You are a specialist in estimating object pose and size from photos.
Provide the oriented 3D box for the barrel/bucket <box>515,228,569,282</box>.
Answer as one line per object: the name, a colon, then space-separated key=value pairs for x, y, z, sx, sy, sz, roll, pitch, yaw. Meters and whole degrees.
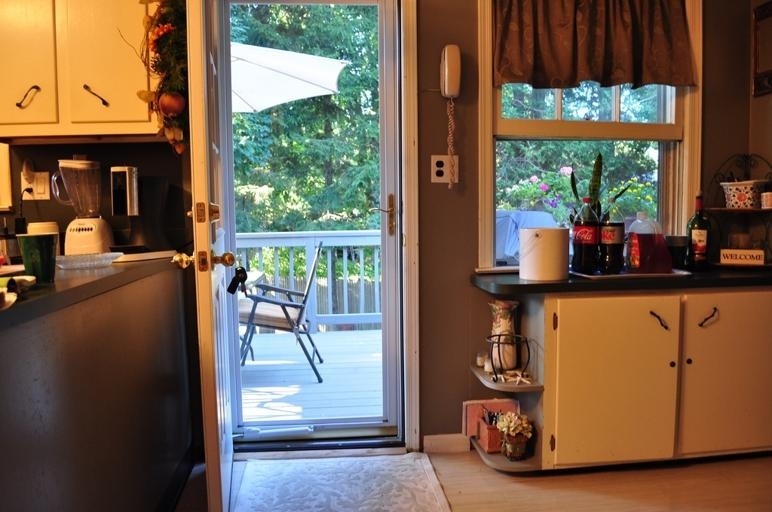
barrel/bucket: x=0.880 y=-0.026 z=3.579 sx=0.271 sy=0.302 sz=0.294 roll=-2 pitch=9 yaw=0

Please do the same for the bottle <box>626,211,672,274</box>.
bottle: x=1.503 y=-0.080 z=3.611 sx=0.262 sy=0.319 sz=0.234 roll=4 pitch=14 yaw=18

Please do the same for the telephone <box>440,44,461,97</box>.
telephone: x=0.372 y=-1.049 z=3.637 sx=0.123 sy=0.292 sz=0.140 roll=0 pitch=13 yaw=2

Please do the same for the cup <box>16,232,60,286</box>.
cup: x=-1.511 y=-0.004 z=2.793 sx=0.180 sy=0.208 sz=0.176 roll=-1 pitch=2 yaw=0

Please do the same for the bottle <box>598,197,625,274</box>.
bottle: x=1.270 y=-0.119 z=3.586 sx=0.143 sy=0.411 sz=0.170 roll=-2 pitch=13 yaw=-6

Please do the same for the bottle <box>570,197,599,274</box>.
bottle: x=1.134 y=-0.117 z=3.597 sx=0.135 sy=0.416 sz=0.152 roll=-1 pitch=13 yaw=-4

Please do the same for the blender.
blender: x=-1.642 y=-0.279 z=3.447 sx=0.255 sy=0.501 sz=0.560 roll=-7 pitch=15 yaw=-26

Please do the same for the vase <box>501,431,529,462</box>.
vase: x=0.710 y=1.039 z=3.524 sx=0.142 sy=0.166 sz=0.145 roll=2 pitch=-6 yaw=-8

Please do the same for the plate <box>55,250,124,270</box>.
plate: x=-1.447 y=0.009 z=3.135 sx=0.315 sy=0.086 sz=0.170 roll=-9 pitch=16 yaw=-35

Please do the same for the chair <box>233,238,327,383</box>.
chair: x=-0.816 y=0.416 z=4.805 sx=0.732 sy=0.933 sz=0.618 roll=1 pitch=4 yaw=4

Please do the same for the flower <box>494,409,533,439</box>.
flower: x=0.724 y=0.896 z=3.559 sx=0.160 sy=0.075 sz=0.156 roll=8 pitch=16 yaw=12
